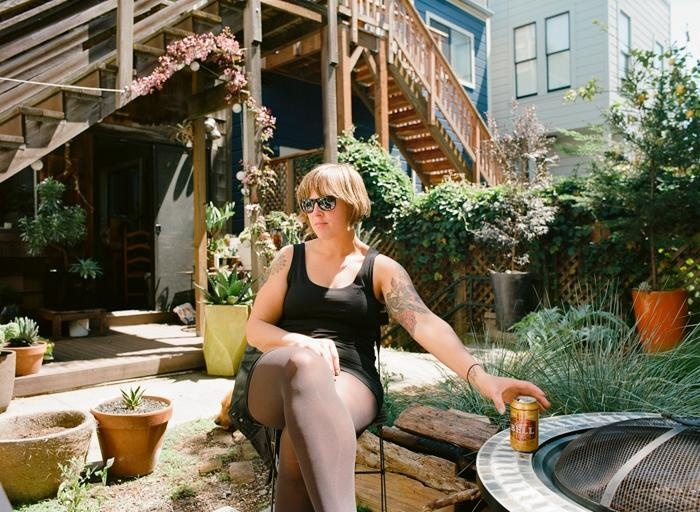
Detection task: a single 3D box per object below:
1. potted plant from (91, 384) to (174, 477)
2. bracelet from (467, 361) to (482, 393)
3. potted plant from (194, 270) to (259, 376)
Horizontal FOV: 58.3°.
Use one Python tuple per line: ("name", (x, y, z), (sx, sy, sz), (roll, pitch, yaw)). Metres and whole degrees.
("potted plant", (-1.521, 1.187, 4.370), (0.504, 0.600, 0.549), (4, 1, 29))
("bracelet", (0.682, 0.665, 3.427), (0.095, 0.145, 0.034), (-21, -24, 4))
("potted plant", (-1.284, 0.659, 6.346), (0.614, 1.084, 0.467), (2, -5, -36))
